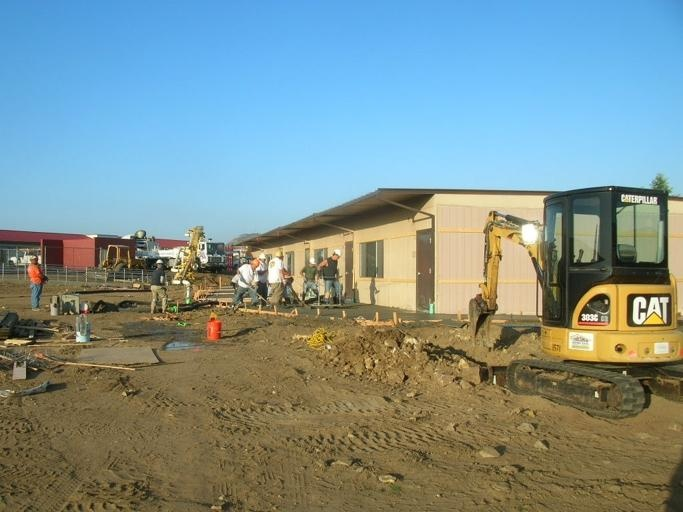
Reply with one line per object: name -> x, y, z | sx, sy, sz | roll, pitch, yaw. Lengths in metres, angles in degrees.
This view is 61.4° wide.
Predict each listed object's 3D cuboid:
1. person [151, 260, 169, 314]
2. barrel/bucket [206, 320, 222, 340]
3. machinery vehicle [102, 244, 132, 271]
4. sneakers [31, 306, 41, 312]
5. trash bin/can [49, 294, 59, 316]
person -> -5.768, 1.003, 18.286 | 0.471, 1.707, 1.325 | 0, 5, -17
barrel/bucket -> -2.901, 1.713, 13.241 | 0.470, 0.397, 0.417 | 1, -5, -9
machinery vehicle -> -17.077, 0.118, 44.125 | 2.430, 1.836, 2.133 | 1, 3, -1
sneakers -> -9.730, 1.704, 18.378 | 0.497, 0.177, 0.194 | -4, -7, 40
trash bin/can -> -8.494, 1.488, 17.093 | 0.258, 0.513, 0.675 | -1, 5, -26
